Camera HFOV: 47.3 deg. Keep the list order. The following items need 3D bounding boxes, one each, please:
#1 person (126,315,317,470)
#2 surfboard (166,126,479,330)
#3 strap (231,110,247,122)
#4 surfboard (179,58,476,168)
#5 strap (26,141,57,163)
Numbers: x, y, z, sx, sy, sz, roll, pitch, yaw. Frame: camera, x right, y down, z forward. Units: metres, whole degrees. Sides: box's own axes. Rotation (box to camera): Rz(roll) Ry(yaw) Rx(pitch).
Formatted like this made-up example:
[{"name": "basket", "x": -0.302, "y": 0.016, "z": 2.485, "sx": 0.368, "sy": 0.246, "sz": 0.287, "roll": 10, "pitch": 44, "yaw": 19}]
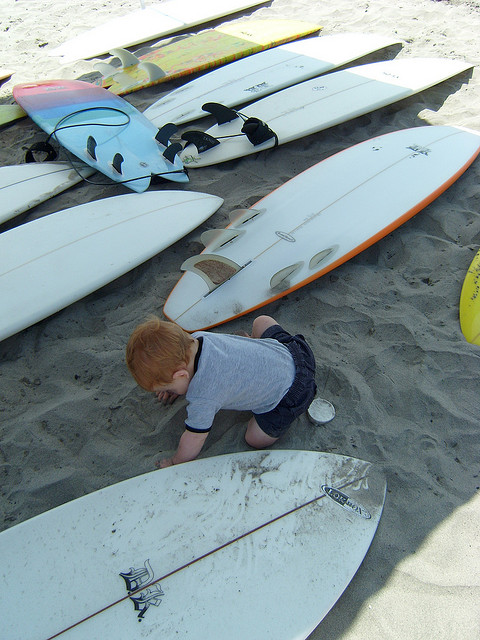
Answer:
[{"name": "person", "x": -0.078, "y": 0.179, "z": 2.168, "sx": 0.758, "sy": 0.427, "sz": 0.544, "roll": -10, "pitch": 45, "yaw": -18}, {"name": "surfboard", "x": 0.495, "y": -0.494, "z": 3.089, "sx": 1.853, "sy": 0.286, "sz": 0.544, "roll": -32, "pitch": 62, "yaw": -12}, {"name": "strap", "x": -0.007, "y": -1.464, "z": 3.933, "sx": 0.072, "sy": 0.060, "sz": 0.216, "roll": -11, "pitch": 36, "yaw": -12}, {"name": "surfboard", "x": 0.661, "y": -1.488, "z": 3.993, "sx": 2.283, "sy": 0.301, "sz": 0.486, "roll": -21, "pitch": 60, "yaw": -8}, {"name": "strap", "x": -1.365, "y": -1.149, "z": 3.760, "sx": 0.190, "sy": 0.127, "sz": 0.060, "roll": -31, "pitch": 18, "yaw": -13}]
